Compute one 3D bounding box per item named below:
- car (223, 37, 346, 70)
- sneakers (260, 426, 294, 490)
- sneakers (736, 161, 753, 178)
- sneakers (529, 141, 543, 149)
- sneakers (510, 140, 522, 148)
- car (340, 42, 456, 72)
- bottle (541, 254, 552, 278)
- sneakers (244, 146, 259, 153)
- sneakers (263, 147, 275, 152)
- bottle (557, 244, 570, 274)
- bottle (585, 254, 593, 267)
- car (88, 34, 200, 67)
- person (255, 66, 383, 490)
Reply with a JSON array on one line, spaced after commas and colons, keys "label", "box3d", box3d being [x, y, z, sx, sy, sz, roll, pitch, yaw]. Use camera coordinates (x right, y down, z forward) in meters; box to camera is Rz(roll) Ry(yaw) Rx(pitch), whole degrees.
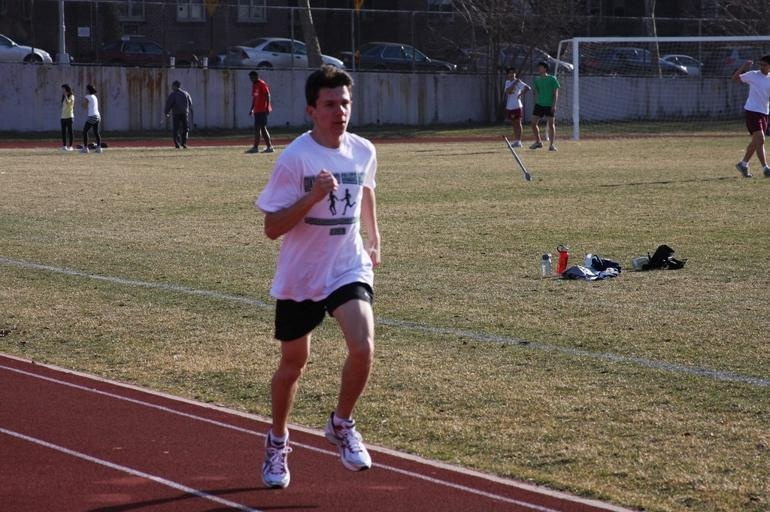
[{"label": "car", "box3d": [-4.350, -8.010, 44.788, 4.276, 1.180, 1.862, -2, 9, -13]}, {"label": "sneakers", "box3d": [-0.979, 1.860, 10.043, 0.203, 0.243, 0.539, -1, 11, -10]}, {"label": "sneakers", "box3d": [7.108, -1.716, 22.435, 0.172, 0.403, 0.150, -35, 25, 25]}, {"label": "sneakers", "box3d": [3.989, -3.005, 30.647, 0.459, 0.212, 0.172, 1, 10, 29]}, {"label": "sneakers", "box3d": [3.608, -3.072, 30.984, 0.176, 0.206, 0.521, -4, -1, 3]}, {"label": "car", "box3d": [0.528, -8.168, 46.556, 3.975, 1.161, 0.602, -3, 8, -19]}, {"label": "bottle", "box3d": [2.093, 0.107, 14.714, 0.138, 0.288, 0.297, 2, 8, 8]}, {"label": "sneakers", "box3d": [-3.680, -2.875, 30.707, 0.468, 0.213, 0.171, 6, 13, 28]}, {"label": "sneakers", "box3d": [-3.176, -2.879, 30.656, 0.134, 0.156, 0.365, -11, 15, -34]}, {"label": "bottle", "box3d": [2.310, 0.038, 14.767, 0.141, 0.377, 0.376, 1, 8, 7]}, {"label": "bottle", "box3d": [2.646, 0.051, 14.782, 0.106, 0.138, 0.243, 2, 9, 10]}, {"label": "car", "box3d": [-9.330, -8.051, 44.192, 3.843, 1.173, 2.398, -2, 9, -14]}, {"label": "person", "box3d": [-0.613, 0.186, 10.167, 1.014, 3.701, 0.685, 0, 7, -4]}]
